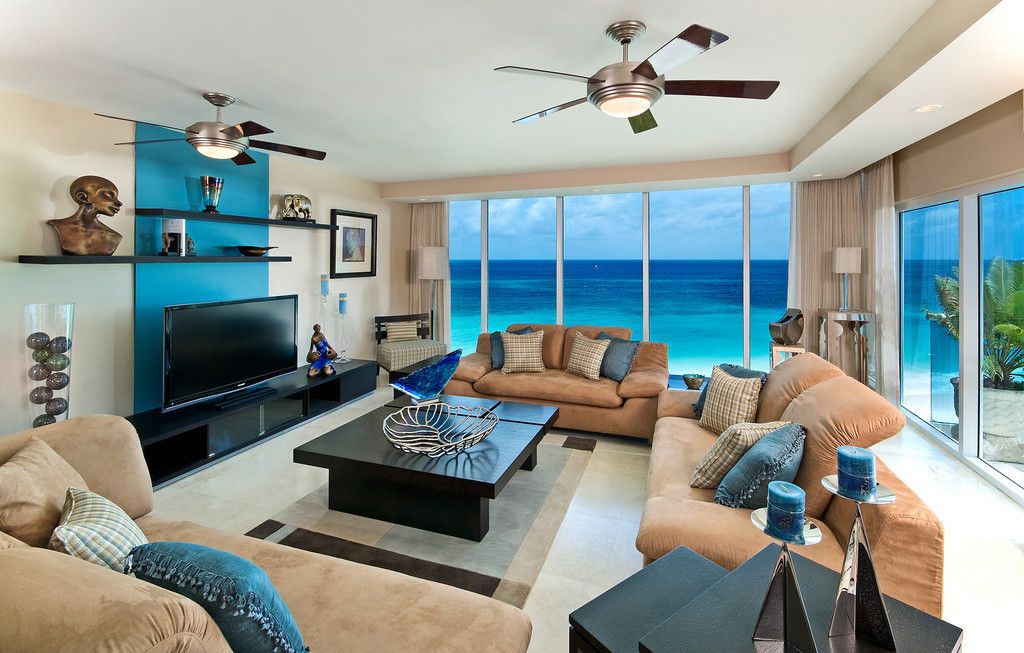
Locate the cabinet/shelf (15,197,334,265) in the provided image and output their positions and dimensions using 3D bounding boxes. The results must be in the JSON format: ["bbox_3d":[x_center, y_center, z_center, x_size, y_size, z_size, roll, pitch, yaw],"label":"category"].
[{"bbox_3d":[-3.138,-0.780,5.924,2.640,0.445,0.363,0,-1,-6],"label":"cabinet/shelf"}]

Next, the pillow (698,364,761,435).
[{"bbox_3d":[1.694,0.572,4.806,0.199,0.476,0.516,23,-12,-25],"label":"pillow"}]

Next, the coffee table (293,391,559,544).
[{"bbox_3d":[-0.583,1.096,5.180,1.768,0.548,1.909,2,9,20],"label":"coffee table"}]

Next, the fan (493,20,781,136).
[{"bbox_3d":[0.889,-1.679,4.034,1.539,0.603,0.843,0,5,20],"label":"fan"}]

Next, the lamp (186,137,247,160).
[{"bbox_3d":[-2.257,-1.393,4.912,0.320,0.097,0.412,1,4,24],"label":"lamp"}]

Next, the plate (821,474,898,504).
[{"bbox_3d":[1.599,0.784,2.916,0.303,0.048,0.293,0,7,-6],"label":"plate"}]

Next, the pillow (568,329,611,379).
[{"bbox_3d":[0.780,0.298,6.548,0.576,0.477,0.141,-11,-10,29],"label":"pillow"}]

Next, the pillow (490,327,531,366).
[{"bbox_3d":[-0.145,0.228,6.974,0.474,0.412,0.171,-9,9,-21],"label":"pillow"}]

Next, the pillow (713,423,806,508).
[{"bbox_3d":[1.423,0.808,3.833,0.227,0.501,0.515,34,-6,14],"label":"pillow"}]

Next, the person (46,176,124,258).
[{"bbox_3d":[-3.492,-0.908,5.069,0.508,0.664,0.241,-3,6,-23],"label":"person"}]

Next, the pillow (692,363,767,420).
[{"bbox_3d":[1.753,0.577,5.215,0.604,0.529,0.178,-21,29,-37],"label":"pillow"}]

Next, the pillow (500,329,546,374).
[{"bbox_3d":[0.124,0.285,6.716,0.485,0.415,0.163,0,-17,0],"label":"pillow"}]

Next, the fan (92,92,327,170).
[{"bbox_3d":[-2.460,-1.605,5.174,1.237,0.499,1.541,-4,5,-38],"label":"fan"}]

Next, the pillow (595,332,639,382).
[{"bbox_3d":[1.090,0.321,6.390,0.441,0.400,0.135,-1,-20,45],"label":"pillow"}]

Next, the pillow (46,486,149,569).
[{"bbox_3d":[-2.129,1.032,3.189,0.437,0.133,0.446,45,9,39],"label":"pillow"}]

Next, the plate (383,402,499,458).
[{"bbox_3d":[-0.622,0.800,4.941,0.516,0.110,0.501,5,10,30],"label":"plate"}]

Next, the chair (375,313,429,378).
[{"bbox_3d":[-1.405,0.200,8.225,0.719,0.585,0.496,-5,22,-20],"label":"chair"}]

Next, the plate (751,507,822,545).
[{"bbox_3d":[1.262,0.915,2.860,0.238,0.037,0.223,11,13,42],"label":"plate"}]

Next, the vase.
[{"bbox_3d":[-3.591,0.282,4.845,0.328,0.920,0.187,-4,6,-28],"label":"vase"}]
